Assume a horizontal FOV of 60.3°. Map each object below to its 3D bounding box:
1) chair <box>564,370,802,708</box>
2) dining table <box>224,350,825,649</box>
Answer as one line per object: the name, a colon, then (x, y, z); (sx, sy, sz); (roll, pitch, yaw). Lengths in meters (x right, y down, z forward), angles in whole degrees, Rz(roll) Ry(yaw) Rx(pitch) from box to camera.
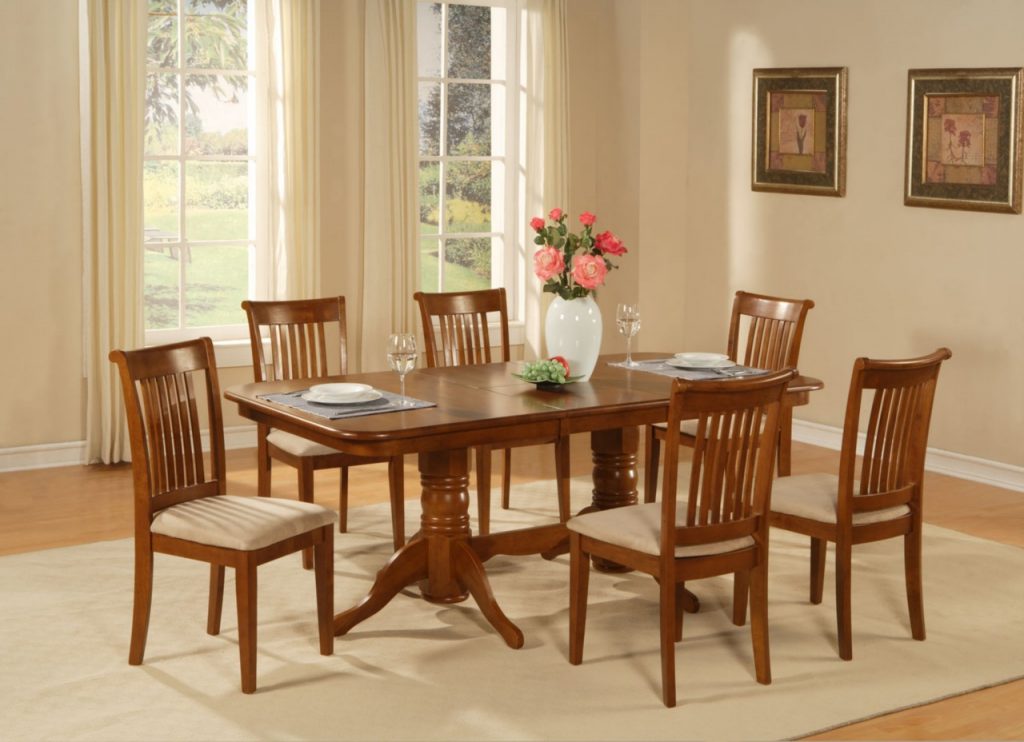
chair: (0.563, 0.528, 2.943); (0.730, 1.073, 0.463); (1, 14, 0)
dining table: (-0.073, 0.367, 3.447); (2.412, 0.842, 1.175); (-4, 7, -36)
